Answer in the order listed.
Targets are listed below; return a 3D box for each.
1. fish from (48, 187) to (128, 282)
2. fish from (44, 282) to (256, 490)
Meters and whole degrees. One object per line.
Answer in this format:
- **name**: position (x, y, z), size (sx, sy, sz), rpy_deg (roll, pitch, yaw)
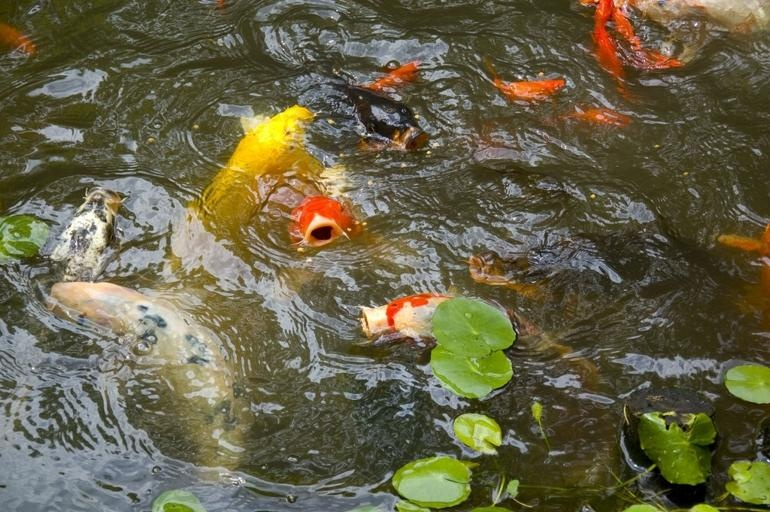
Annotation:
- **fish**: position (-2.084, -0.115, 6.366), size (0.277, 0.302, 0.801), rpy_deg (27, 58, -16)
- **fish**: position (-1.577, 0.650, 6.054), size (1.520, 0.709, 0.312), rpy_deg (27, 96, 29)
